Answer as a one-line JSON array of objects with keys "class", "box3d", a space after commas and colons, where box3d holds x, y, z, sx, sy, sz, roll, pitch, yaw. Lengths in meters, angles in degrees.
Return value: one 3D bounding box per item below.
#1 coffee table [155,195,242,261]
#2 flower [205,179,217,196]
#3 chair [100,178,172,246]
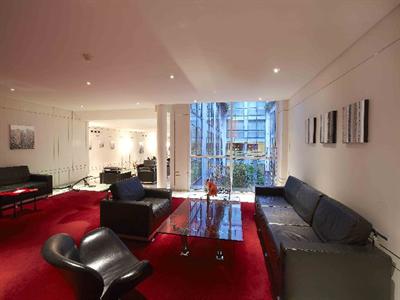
[{"class": "coffee table", "box3d": [0.118, 1.611, 5.046, 1.573, 0.538, 2.358, 4, 4, 14]}, {"class": "flower", "box3d": [0.283, 0.778, 4.976, 0.283, 0.364, 0.125, 5, 14, 43]}, {"class": "chair", "box3d": [-1.362, 1.223, 5.447, 1.054, 1.148, 1.570, 1, 3, 13]}]
